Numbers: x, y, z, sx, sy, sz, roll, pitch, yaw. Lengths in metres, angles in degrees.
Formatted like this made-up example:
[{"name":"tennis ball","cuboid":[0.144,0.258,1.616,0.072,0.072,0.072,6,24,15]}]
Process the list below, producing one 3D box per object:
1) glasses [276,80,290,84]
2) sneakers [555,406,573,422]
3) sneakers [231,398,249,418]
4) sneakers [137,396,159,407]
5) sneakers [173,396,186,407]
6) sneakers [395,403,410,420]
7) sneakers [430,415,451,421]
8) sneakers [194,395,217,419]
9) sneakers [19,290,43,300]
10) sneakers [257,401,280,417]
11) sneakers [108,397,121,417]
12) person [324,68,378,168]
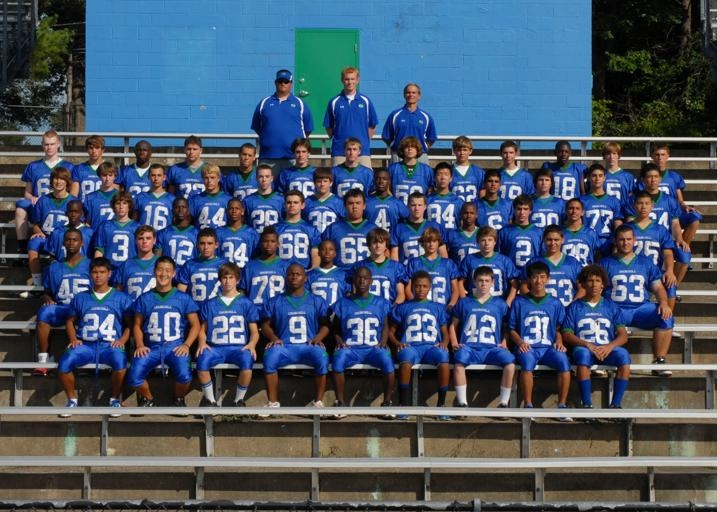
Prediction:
[{"name":"glasses","cuboid":[-1.166,-2.710,32.247,0.216,0.071,0.088,-3,13,-6]},{"name":"sneakers","cuboid":[2.897,2.294,29.653,0.171,0.231,0.077,-2,3,8]},{"name":"sneakers","cuboid":[-1.693,2.210,29.742,0.201,0.238,0.254,3,-16,-8]},{"name":"sneakers","cuboid":[-3.020,2.139,29.900,0.308,0.126,0.111,11,2,-32]},{"name":"sneakers","cuboid":[-2.550,2.128,29.860,0.112,0.148,0.144,26,25,35]},{"name":"sneakers","cuboid":[0.590,2.245,29.314,0.135,0.164,0.391,0,-14,2]},{"name":"sneakers","cuboid":[1.140,2.354,29.590,0.278,0.113,0.091,-1,9,7]},{"name":"sneakers","cuboid":[-2.164,2.224,29.820,0.274,0.303,0.126,3,-16,-2]},{"name":"sneakers","cuboid":[-4.847,0.607,31.051,0.375,0.162,0.122,3,-2,-8]},{"name":"sneakers","cuboid":[-1.283,2.231,29.575,0.415,0.172,0.149,-3,-5,-15]},{"name":"sneakers","cuboid":[-3.453,2.182,29.656,0.137,0.167,0.397,1,-1,-9]},{"name":"person","cuboid":[-0.129,-1.690,32.376,0.811,2.482,0.516,-1,-5,4]}]
